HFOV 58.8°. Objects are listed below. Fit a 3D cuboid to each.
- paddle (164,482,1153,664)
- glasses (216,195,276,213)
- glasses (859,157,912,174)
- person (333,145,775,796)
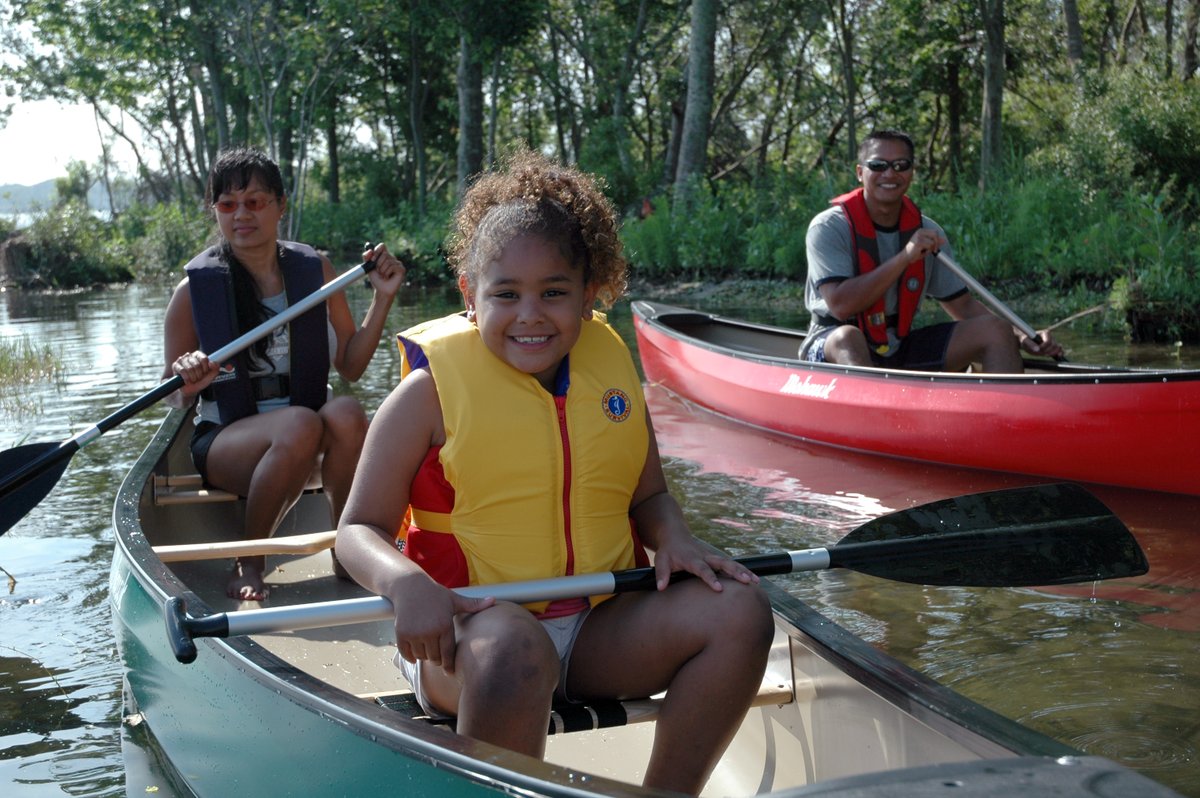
[{"bbox_3d":[0.141,0.566,3.348,2.638,0.310,0.457,-3,44,-9],"label":"paddle"},{"bbox_3d":[-1.427,-0.768,4.286,0.218,0.067,0.065,-3,6,-15],"label":"glasses"},{"bbox_3d":[1.573,-1.267,5.828,0.236,0.082,0.053,0,7,14],"label":"glasses"},{"bbox_3d":[-0.171,0.170,2.931,1.090,1.713,0.697,-3,7,-16],"label":"person"}]
